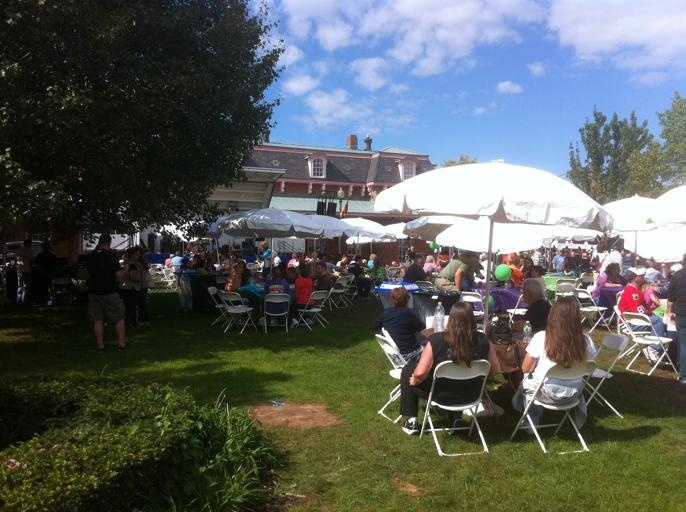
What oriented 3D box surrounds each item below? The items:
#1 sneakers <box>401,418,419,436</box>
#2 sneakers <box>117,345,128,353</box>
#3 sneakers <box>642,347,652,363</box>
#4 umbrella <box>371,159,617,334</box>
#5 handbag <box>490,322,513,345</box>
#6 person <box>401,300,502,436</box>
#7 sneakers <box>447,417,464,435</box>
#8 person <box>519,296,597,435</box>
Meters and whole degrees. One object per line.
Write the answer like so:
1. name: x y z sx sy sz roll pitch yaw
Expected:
1. sneakers: 0.849 2.141 6.705 0.119 0.146 0.307 2 -7 -6
2. sneakers: -4.133 1.738 9.957 0.189 0.069 0.273 -2 7 -25
3. sneakers: 5.549 1.816 9.684 0.124 0.279 0.094 -37 -31 22
4. umbrella: 2.092 -0.434 7.889 2.568 2.333 2.678 4 -2 9
5. handbag: 2.078 1.015 7.123 0.296 0.282 0.220 -7 9 -16
6. person: 1.238 1.383 6.471 1.129 1.710 0.567 2 7 16
7. sneakers: 1.422 2.127 6.703 0.108 0.345 0.133 1 28 0
8. person: 2.670 1.352 6.539 0.887 1.755 0.686 -2 8 -18
